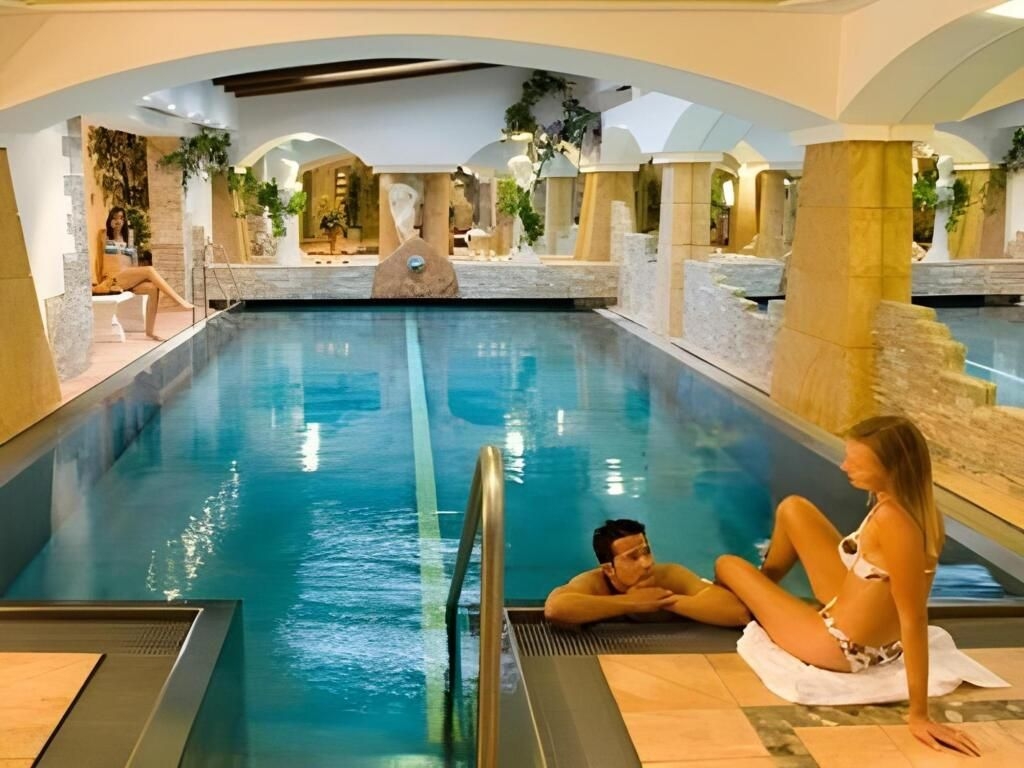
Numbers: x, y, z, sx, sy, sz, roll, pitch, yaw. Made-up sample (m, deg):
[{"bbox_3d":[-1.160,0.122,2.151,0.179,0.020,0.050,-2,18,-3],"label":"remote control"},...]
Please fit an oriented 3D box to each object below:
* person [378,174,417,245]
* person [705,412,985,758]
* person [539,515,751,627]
[{"bbox_3d":[-2.686,-4.317,15.786,0.783,1.691,1.140,-5,9,-25],"label":"person"},{"bbox_3d":[1.251,0.563,2.295,0.404,0.959,1.006,-4,9,-18],"label":"person"},{"bbox_3d":[0.543,0.901,2.896,0.878,0.505,0.522,2,-24,-7],"label":"person"}]
